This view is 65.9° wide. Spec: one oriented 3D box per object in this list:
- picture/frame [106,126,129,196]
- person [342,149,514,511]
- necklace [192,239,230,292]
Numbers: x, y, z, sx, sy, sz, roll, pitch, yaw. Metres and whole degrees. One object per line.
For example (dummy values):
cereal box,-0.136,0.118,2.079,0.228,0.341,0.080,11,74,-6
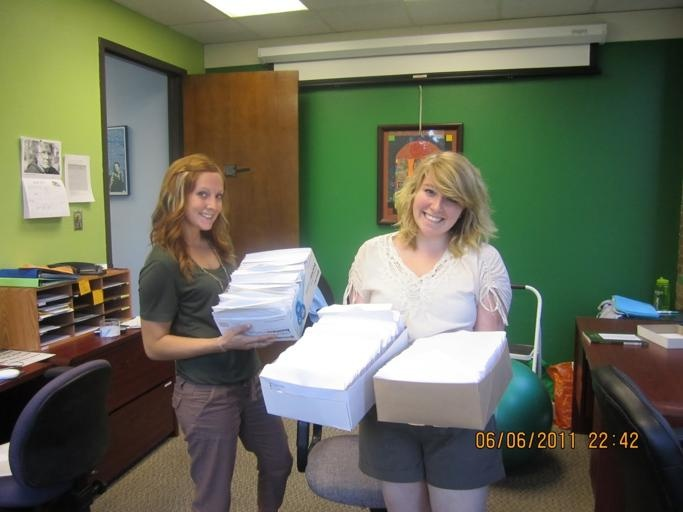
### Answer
picture/frame,-2.220,-0.938,5.221,0.297,0.684,0.107,3,10,30
person,0.317,0.238,2.026,0.631,1.252,0.683,1,9,18
necklace,-0.568,0.055,2.341,0.180,0.048,0.110,43,33,4
